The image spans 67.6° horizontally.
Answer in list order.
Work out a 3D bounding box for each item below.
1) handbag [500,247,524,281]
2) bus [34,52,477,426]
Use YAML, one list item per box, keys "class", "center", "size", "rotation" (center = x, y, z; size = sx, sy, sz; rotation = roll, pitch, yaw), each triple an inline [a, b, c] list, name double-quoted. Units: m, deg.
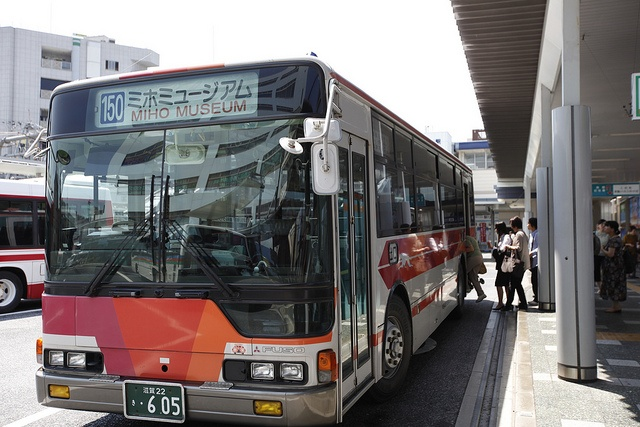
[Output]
- class: "handbag"
  center: [4.733, 1.228, 11.704]
  size: [0.711, 0.783, 0.402]
  rotation: [-2, -22, 34]
- class: "bus"
  center: [-0.856, 0.508, 5.609]
  size: [2.305, 2.059, 5.725]
  rotation: [-1, -2, 24]
